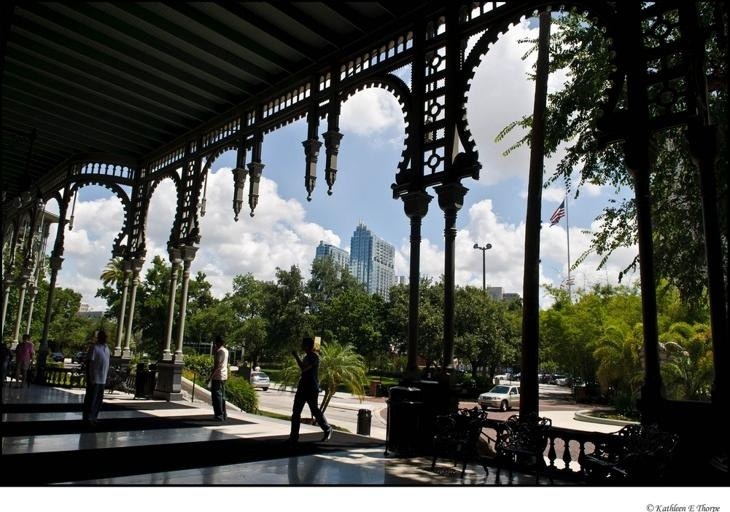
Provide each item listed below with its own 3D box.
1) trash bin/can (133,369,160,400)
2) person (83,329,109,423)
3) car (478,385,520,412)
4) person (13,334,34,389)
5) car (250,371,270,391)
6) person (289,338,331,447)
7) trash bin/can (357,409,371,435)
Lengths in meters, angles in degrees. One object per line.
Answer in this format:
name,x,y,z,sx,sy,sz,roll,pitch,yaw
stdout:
trash bin/can,-6.254,3.587,17.125,0.638,0.835,0.342,5,-11,-6
person,-5.682,2.492,12.663,0.403,1.884,1.108,8,-12,-23
car,7.003,7.229,30.906,1.675,1.241,2.957,0,-11,19
person,-10.970,3.271,19.228,0.451,1.589,2.399,9,-12,-28
car,-6.965,8.133,39.548,1.165,1.162,1.657,6,-11,-10
person,-1.049,2.573,11.816,0.842,1.982,1.085,5,-11,-6
trash bin/can,-0.023,3.874,14.107,0.281,0.556,0.486,4,-11,-4
